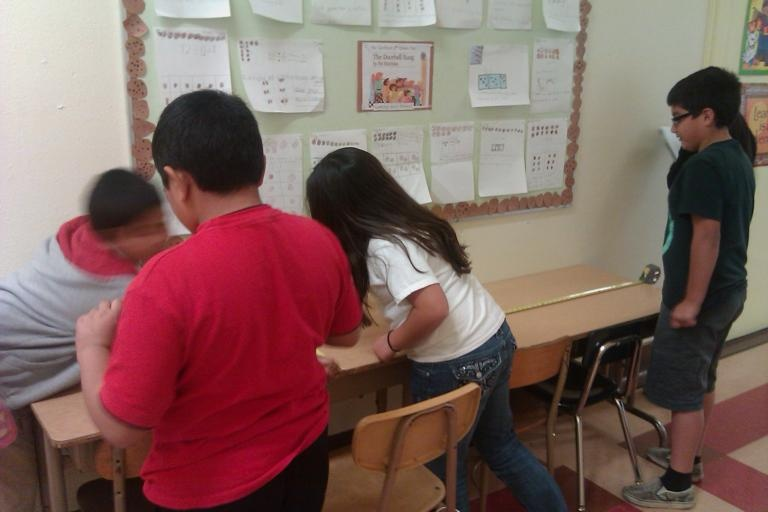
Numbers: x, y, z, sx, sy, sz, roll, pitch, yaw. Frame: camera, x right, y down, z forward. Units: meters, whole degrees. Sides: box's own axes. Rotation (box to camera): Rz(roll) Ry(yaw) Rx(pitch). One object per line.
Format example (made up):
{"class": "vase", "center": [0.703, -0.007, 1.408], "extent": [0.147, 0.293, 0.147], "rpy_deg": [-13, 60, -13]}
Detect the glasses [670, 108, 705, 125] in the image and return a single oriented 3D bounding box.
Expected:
{"class": "glasses", "center": [1.341, -0.615, 2.509], "extent": [0.036, 0.072, 0.144], "rpy_deg": [-11, 18, -21]}

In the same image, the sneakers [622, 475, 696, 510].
{"class": "sneakers", "center": [1.270, 1.080, 2.652], "extent": [0.313, 0.134, 0.134], "rpy_deg": [4, -1, 6]}
